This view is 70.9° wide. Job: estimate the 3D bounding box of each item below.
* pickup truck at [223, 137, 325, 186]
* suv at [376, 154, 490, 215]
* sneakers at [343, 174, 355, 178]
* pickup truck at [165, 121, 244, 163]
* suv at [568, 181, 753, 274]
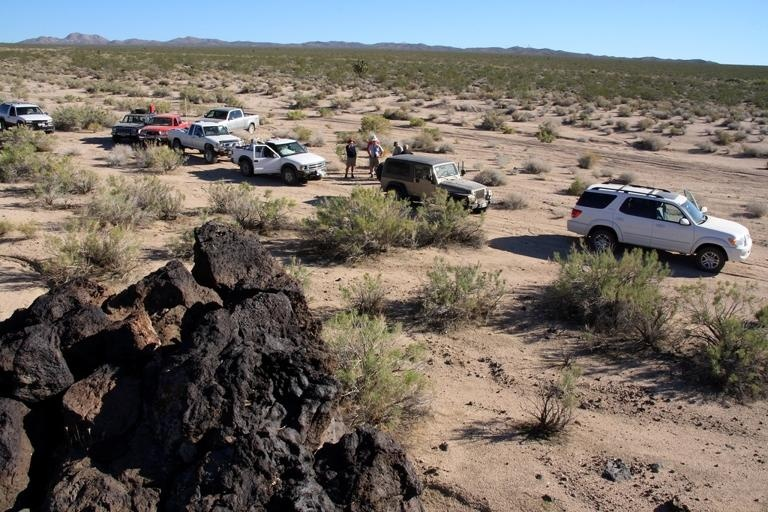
[{"bbox_3d":[-4.468,-4.222,23.552,3.495,1.295,2.106,12,25,25],"label":"pickup truck"},{"bbox_3d":[1.834,-2.867,19.855,3.798,1.769,2.081,15,26,32],"label":"suv"},{"bbox_3d":[-1.634,-3.700,24.957,0.310,0.146,0.380,-1,5,-19],"label":"sneakers"},{"bbox_3d":[-8.692,-5.784,26.402,3.899,1.554,2.008,18,27,32],"label":"pickup truck"},{"bbox_3d":[8.196,-0.946,17.079,5.646,2.310,2.607,8,26,25],"label":"suv"}]
